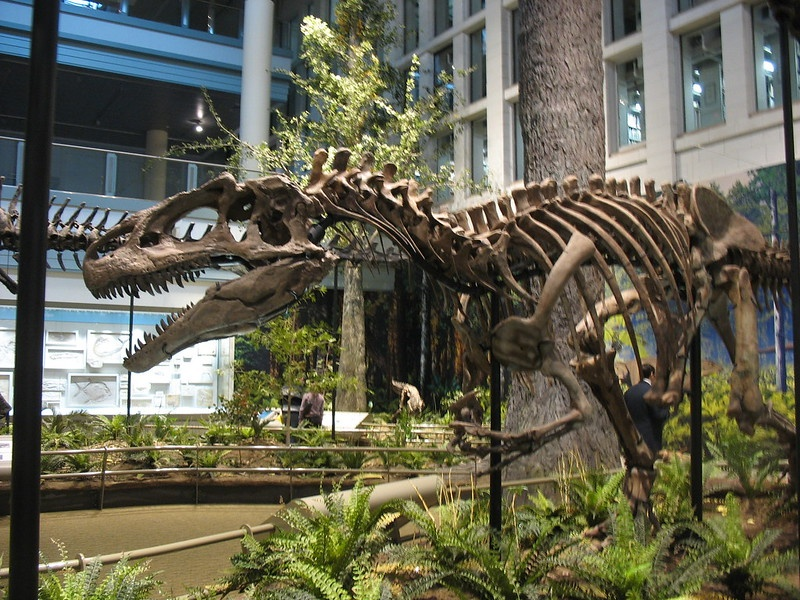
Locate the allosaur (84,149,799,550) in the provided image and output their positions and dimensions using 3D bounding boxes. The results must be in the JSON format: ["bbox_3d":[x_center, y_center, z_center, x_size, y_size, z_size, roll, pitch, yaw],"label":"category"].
[{"bbox_3d":[0.554,0.434,9.040,7.865,4.085,3.022,6,-3,-14],"label":"allosaur"}]
